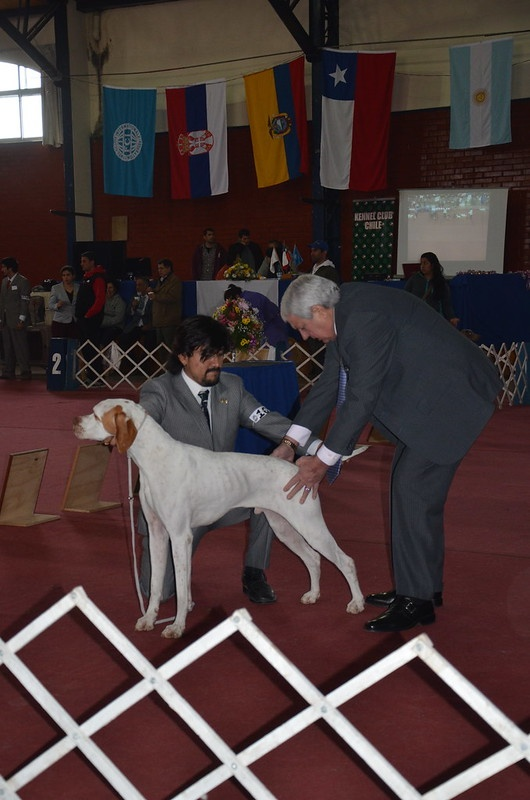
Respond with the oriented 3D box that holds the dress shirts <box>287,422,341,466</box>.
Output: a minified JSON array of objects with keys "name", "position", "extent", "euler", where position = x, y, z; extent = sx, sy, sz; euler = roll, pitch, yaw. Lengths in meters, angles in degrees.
[{"name":"dress shirts","position":[0.201,0.190,2.683],"extent":[0.322,0.100,0.092],"euler":[24,-5,44]}]

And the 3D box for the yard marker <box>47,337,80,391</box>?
[{"name":"yard marker","position":[-3.667,-0.656,11.731],"extent":[0.497,0.927,0.509],"euler":[8,5,41]}]

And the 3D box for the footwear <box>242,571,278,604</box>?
[{"name":"footwear","position":[-0.031,0.871,2.937],"extent":[0.073,0.094,0.199],"euler":[-3,2,-20]}]

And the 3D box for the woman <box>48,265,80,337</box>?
[{"name":"woman","position":[-3.751,-1.816,11.751],"extent":[0.529,1.348,0.647],"euler":[-2,4,-17]}]

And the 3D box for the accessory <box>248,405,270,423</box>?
[{"name":"accessory","position":[-0.035,0.077,2.983],"extent":[0.033,0.066,0.122],"euler":[-24,21,47]}]

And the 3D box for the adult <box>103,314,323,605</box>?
[{"name":"adult","position":[-0.172,0.346,2.835],"extent":[0.952,1.355,0.896],"euler":[0,22,-4]}]

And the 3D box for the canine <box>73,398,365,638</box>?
[{"name":"canine","position":[-0.187,0.465,2.546],"extent":[1.097,0.952,0.357],"euler":[-2,4,-22]}]

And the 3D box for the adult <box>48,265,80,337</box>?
[{"name":"adult","position":[-3.751,-1.816,11.751],"extent":[0.529,1.348,0.647],"euler":[-2,4,-17]}]

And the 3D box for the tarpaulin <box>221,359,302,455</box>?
[{"name":"tarpaulin","position":[-0.013,-0.037,6.509],"extent":[0.691,0.679,0.553],"euler":[-2,8,-14]}]

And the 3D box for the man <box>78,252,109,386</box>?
[{"name":"man","position":[-3.283,-1.530,11.892],"extent":[0.545,2.466,0.998],"euler":[-1,4,-15]}]

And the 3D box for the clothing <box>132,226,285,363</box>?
[{"name":"clothing","position":[-0.620,-1.887,10.396],"extent":[2.391,1.501,2.351],"euler":[2,38,2]}]

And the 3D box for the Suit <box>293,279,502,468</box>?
[{"name":"Suit","position":[0.585,-0.102,2.566],"extent":[0.763,0.738,0.250],"euler":[-1,4,-8]}]

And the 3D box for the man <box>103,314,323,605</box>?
[{"name":"man","position":[-0.140,0.322,2.835],"extent":[0.852,1.305,0.808],"euler":[-1,12,-10]}]

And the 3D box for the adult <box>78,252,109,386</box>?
[{"name":"adult","position":[-3.283,-1.530,11.888],"extent":[0.548,2.466,0.997],"euler":[-2,4,-16]}]
